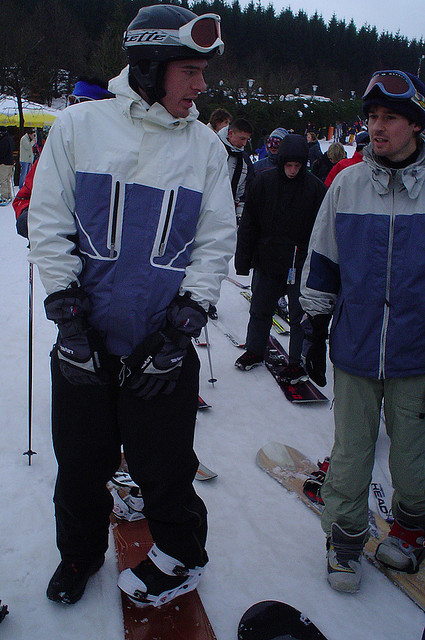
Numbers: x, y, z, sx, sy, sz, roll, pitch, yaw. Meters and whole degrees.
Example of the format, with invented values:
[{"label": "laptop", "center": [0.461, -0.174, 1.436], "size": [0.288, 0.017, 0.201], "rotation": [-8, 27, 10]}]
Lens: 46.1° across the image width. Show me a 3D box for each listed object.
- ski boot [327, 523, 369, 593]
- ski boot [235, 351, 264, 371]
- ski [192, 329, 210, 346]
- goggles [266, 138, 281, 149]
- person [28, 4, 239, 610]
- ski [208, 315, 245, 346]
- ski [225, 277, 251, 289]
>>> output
[{"label": "ski boot", "center": [0.504, 0.874, 1.862], "size": [0.141, 0.223, 0.135], "rotation": [7, 14, 4]}, {"label": "ski boot", "center": [0.282, 0.294, 3.901], "size": [0.262, 0.136, 0.102], "rotation": [-4, 21, -21]}, {"label": "ski", "center": [-0.087, 0.135, 4.275], "size": [0.128, 0.106, 0.447], "rotation": [6, 14, 0]}, {"label": "goggles", "center": [0.595, -1.743, 4.906], "size": [0.115, 0.104, 0.149], "rotation": [7, 14, 1]}, {"label": "person", "center": [-0.210, 0.038, 1.466], "size": [0.623, 1.816, 0.413], "rotation": [1, 15, -21]}, {"label": "ski", "center": [0.068, 0.043, 4.755], "size": [0.110, 0.109, 0.988], "rotation": [-14, 26, -14]}, {"label": "ski", "center": [0.318, -0.468, 6.075], "size": [0.128, 0.051, 0.513], "rotation": [0, 16, -25]}]
